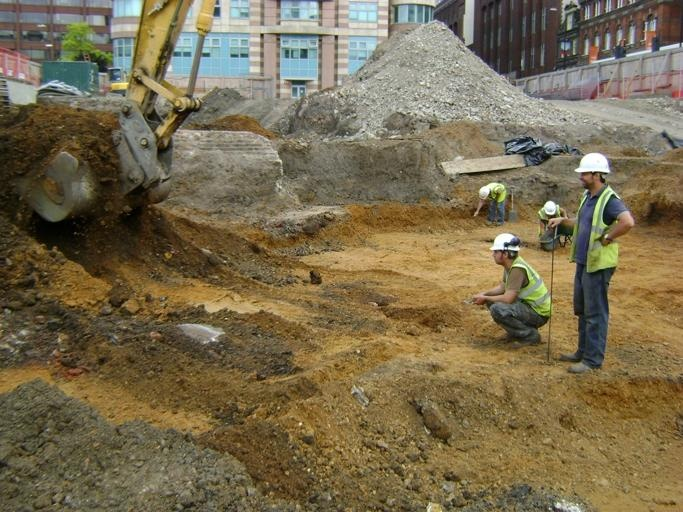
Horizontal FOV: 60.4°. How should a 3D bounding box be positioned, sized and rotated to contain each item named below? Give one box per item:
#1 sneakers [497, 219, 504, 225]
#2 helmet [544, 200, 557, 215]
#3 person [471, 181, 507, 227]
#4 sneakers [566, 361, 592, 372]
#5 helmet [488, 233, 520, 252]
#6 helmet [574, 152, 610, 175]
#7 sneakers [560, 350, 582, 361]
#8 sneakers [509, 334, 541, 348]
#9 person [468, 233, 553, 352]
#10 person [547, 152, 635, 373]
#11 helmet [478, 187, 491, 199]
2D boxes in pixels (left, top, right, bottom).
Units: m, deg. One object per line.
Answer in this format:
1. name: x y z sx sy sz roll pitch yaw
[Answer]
1. sneakers: 3.935 -0.861 14.590 0.243 0.104 0.153 -4 23 -15
2. helmet: 4.022 -0.927 11.204 0.217 0.152 0.288 -2 34 39
3. person: 3.792 -1.321 14.613 0.783 1.015 1.807 8 13 14
4. sneakers: 2.641 1.226 6.507 0.230 0.077 0.106 2 16 -1
5. helmet: 1.969 -0.150 7.081 0.392 0.195 0.265 6 7 17
6. helmet: 2.786 -1.019 6.476 0.301 0.224 0.364 8 13 18
7. sneakers: 2.657 1.162 6.819 0.260 0.141 0.081 3 11 20
8. sneakers: 2.278 1.044 7.275 0.513 0.177 0.138 2 21 -4
9. person: 2.105 0.420 7.080 0.868 1.351 0.390 8 15 13
10. person: 2.787 0.075 6.518 0.671 2.379 0.752 9 15 14
11. helmet: 3.390 -1.499 13.855 0.231 0.314 0.278 8 14 13
